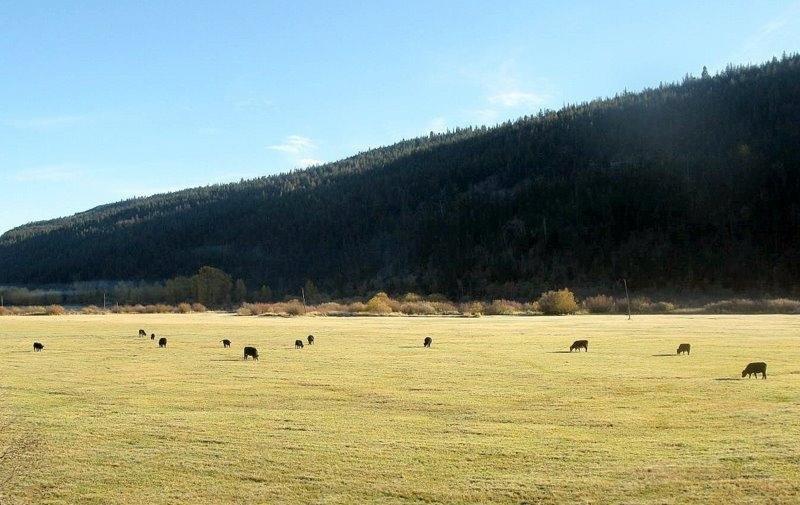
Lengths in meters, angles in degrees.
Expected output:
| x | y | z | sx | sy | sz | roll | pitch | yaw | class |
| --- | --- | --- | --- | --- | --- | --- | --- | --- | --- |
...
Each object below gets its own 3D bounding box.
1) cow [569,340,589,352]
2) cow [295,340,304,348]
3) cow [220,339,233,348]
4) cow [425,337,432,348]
| x | y | z | sx | sy | sz | roll | pitch | yaw | class |
| --- | --- | --- | --- | --- | --- | --- | --- | --- | --- |
| 25.101 | 13.236 | 140.446 | 2.694 | 1.680 | 2.061 | -7 | 0 | 7 | cow |
| -14.478 | 13.247 | 142.777 | 1.100 | 1.148 | 0.905 | -1 | 0 | -15 | cow |
| -25.207 | 13.210 | 144.435 | 1.089 | 1.249 | 3.028 | -6 | 0 | -12 | cow |
| 3.853 | 12.914 | 142.549 | 0.967 | 1.459 | 1.593 | -6 | 0 | -7 | cow |
